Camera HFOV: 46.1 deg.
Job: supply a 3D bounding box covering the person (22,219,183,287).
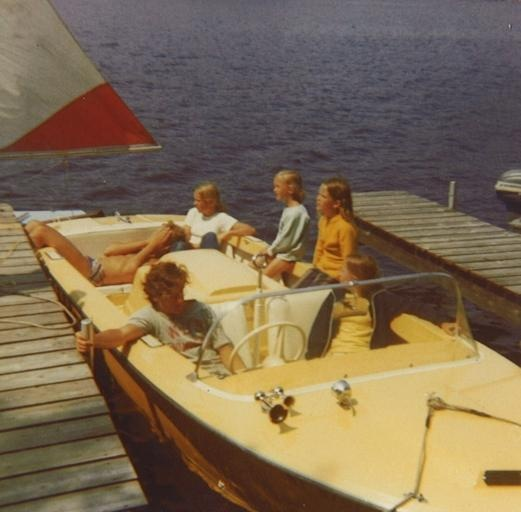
[{"bbox_3d":[-1.445,-0.017,5.566,1.052,0.439,0.321,23,7,8],"label":"person"}]
